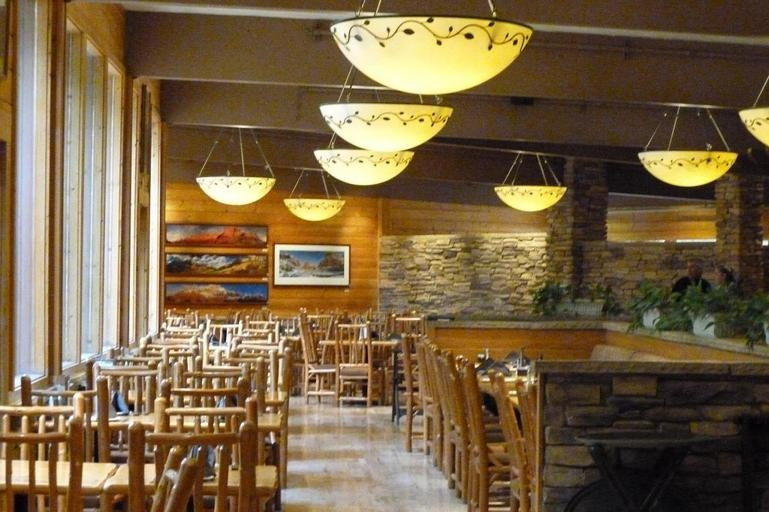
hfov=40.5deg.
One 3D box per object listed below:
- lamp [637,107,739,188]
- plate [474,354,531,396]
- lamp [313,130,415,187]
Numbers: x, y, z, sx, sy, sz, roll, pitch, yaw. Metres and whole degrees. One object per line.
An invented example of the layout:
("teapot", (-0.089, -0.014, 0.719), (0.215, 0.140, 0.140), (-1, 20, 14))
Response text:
("lamp", (3.780, -1.414, 12.893), (1.176, 1.100, 1.169), (-1, -5, 29))
("plate", (1.114, 1.048, 9.777), (0.529, 0.218, 0.512), (1, -3, 7))
("lamp", (-0.243, -1.072, 11.238), (1.241, 0.416, 1.187), (1, -3, -22))
